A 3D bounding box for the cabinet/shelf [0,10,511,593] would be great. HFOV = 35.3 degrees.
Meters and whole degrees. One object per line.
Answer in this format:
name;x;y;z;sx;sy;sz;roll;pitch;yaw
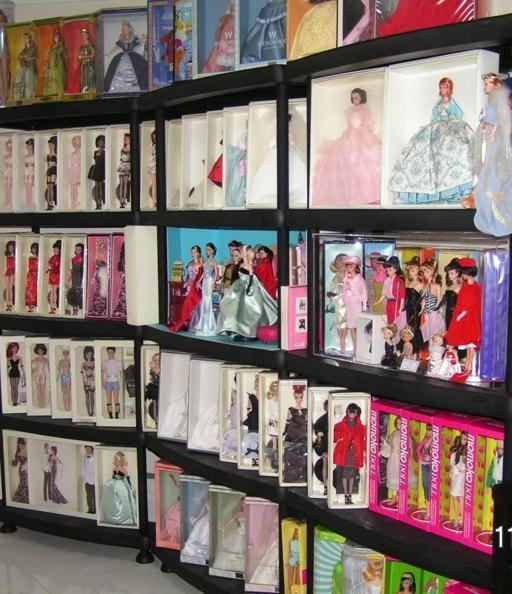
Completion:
cabinet/shelf;0.005;-0.001;2.946;2.096;1.225;0.346;13;16;43
